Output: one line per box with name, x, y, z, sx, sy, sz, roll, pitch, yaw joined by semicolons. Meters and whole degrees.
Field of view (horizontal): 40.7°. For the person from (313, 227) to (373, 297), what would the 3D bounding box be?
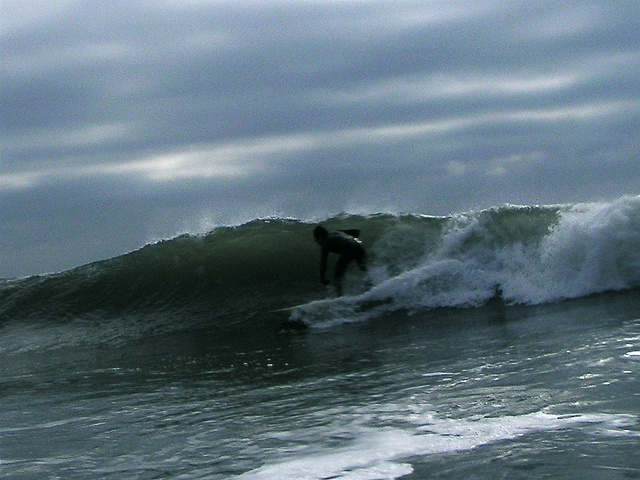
person;0.327;0.304;13.228;0.726;1.027;0.714;-7;-1;0
